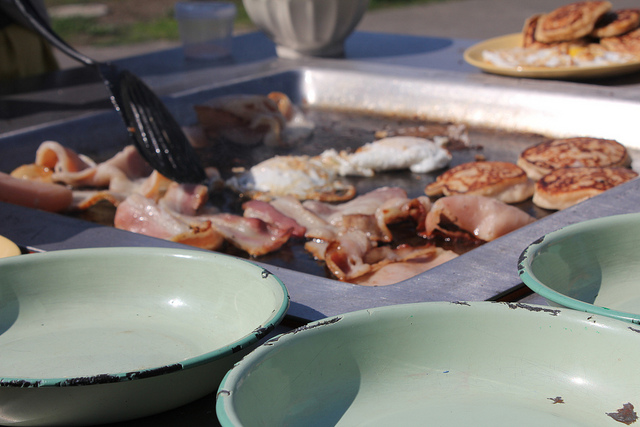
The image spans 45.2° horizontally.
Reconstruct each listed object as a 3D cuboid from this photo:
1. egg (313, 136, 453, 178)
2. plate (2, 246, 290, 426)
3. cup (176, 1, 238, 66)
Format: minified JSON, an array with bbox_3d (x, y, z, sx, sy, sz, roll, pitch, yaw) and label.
[{"bbox_3d":[0.109,-0.111,1.494,0.287,0.062,0.195,-7,11,3],"label":"egg"},{"bbox_3d":[-0.197,0.109,0.834,0.327,0.088,0.214,-10,52,-2],"label":"plate"},{"bbox_3d":[-0.264,-0.416,1.835,0.154,0.142,0.155,1,10,0],"label":"cup"}]
